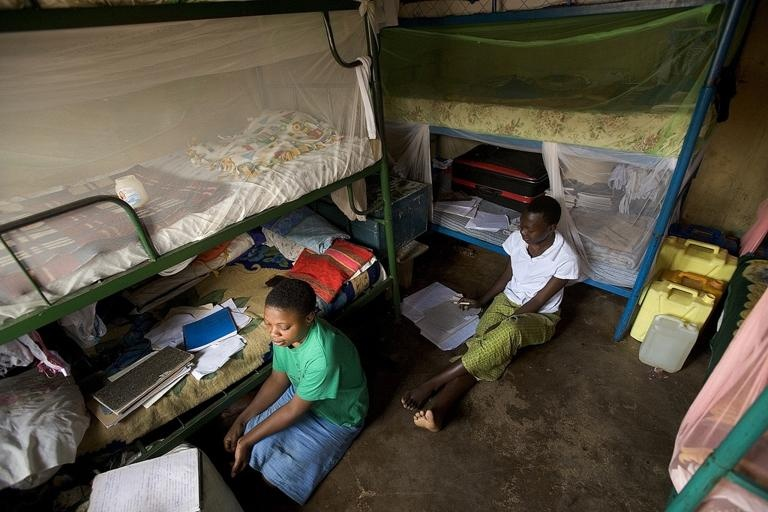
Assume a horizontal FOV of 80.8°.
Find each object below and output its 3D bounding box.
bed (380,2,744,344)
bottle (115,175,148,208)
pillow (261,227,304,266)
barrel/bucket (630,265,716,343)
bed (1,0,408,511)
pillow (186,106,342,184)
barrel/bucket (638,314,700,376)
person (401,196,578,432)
[{"bbox_3d":[1.315,-0.551,3.200,2.302,2.034,1.316,13,35,34],"label":"bed"},{"bbox_3d":[-1.229,-0.315,2.198,0.130,0.126,0.162,-16,37,-18],"label":"bottle"},{"bbox_3d":[-0.746,-0.089,3.268,0.325,0.092,0.247,27,34,18],"label":"pillow"},{"bbox_3d":[1.922,0.308,2.994,0.364,0.460,0.263,27,38,34],"label":"barrel/bucket"},{"bbox_3d":[-0.776,-0.093,2.605,1.298,2.463,2.077,12,38,19],"label":"bed"},{"bbox_3d":[-0.680,-0.665,2.689,0.632,0.124,0.529,-29,43,-36],"label":"pillow"},{"bbox_3d":[1.876,0.581,2.947,0.279,0.378,0.204,22,28,21],"label":"barrel/bucket"},{"bbox_3d":[0.758,0.422,3.157,1.517,0.948,0.666,-30,47,-17],"label":"person"}]
